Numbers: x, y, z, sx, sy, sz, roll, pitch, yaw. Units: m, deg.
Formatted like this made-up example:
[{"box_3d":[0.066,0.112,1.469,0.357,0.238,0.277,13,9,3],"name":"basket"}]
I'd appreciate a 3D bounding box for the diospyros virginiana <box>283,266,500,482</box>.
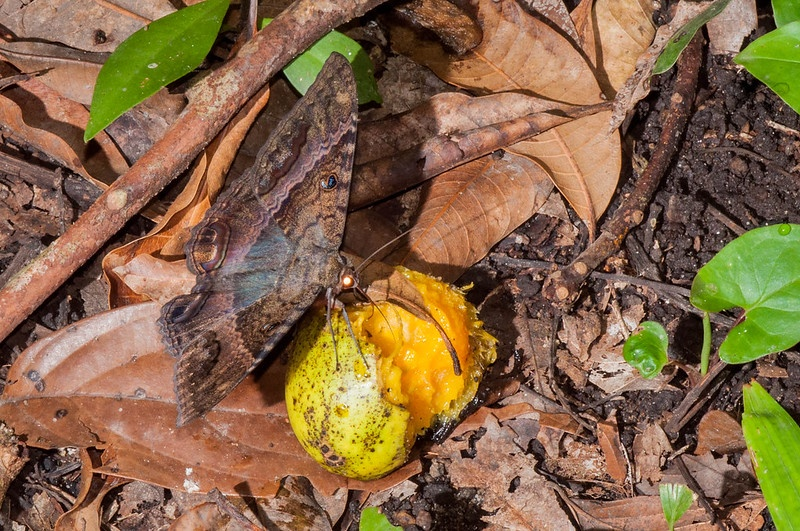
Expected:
[{"box_3d":[-0.063,0.614,5.051,1.263,0.685,1.491,35,48,11],"name":"diospyros virginiana"}]
